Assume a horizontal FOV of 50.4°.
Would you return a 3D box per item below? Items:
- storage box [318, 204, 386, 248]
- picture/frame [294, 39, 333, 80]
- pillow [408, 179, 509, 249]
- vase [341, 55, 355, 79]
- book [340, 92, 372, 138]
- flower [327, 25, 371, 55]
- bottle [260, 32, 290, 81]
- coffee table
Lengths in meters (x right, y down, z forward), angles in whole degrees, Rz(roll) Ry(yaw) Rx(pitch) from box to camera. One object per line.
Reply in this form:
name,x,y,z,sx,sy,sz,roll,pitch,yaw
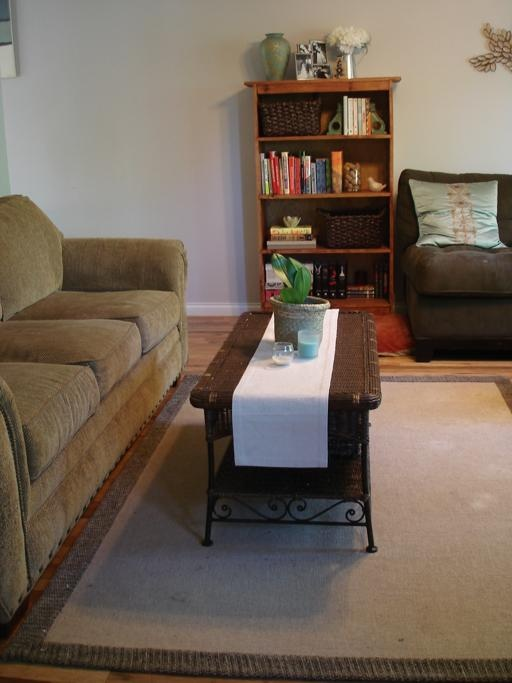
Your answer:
storage box,0.629,-0.737,3.525,0.452,0.260,0.387,-2,12,6
picture/frame,0.341,-1.700,3.299,0.205,0.228,0.109,-3,12,0
pillow,1.206,-0.746,3.187,0.438,0.199,0.361,0,55,7
vase,0.536,-1.614,3.193,0.078,0.172,0.149,-1,12,10
book,0.569,-1.346,3.282,0.212,0.286,0.286,0,30,5
flower,0.553,-1.774,3.268,0.229,0.161,0.241,-1,19,3
bottle,0.111,-1.670,3.218,0.163,0.224,0.090,-3,12,0
coffee table,0.099,0.207,1.614,0.408,0.330,0.682,1,30,4
